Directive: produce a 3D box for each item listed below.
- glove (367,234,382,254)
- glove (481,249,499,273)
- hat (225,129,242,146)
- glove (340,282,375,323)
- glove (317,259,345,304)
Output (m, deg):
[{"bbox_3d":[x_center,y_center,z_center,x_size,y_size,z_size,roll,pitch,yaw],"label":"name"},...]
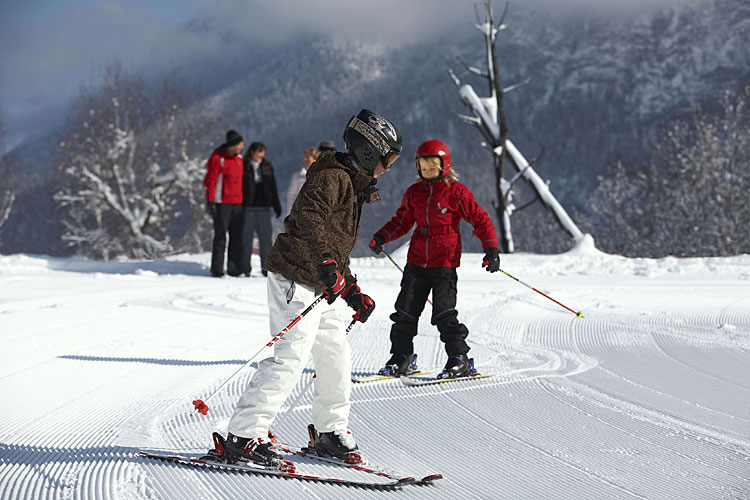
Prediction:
[{"bbox_3d":[0.025,-0.120,17.228,0.369,0.265,0.163,-51,7,-11],"label":"glove"},{"bbox_3d":[2.267,0.194,16.851,0.303,0.487,0.201,0,3,7],"label":"glove"},{"bbox_3d":[-3.562,-2.812,21.461,0.347,0.287,0.356,-32,6,30],"label":"hat"},{"bbox_3d":[-0.290,0.918,15.631,0.524,0.669,0.285,-42,-3,7],"label":"glove"},{"bbox_3d":[-0.795,0.511,15.321,0.311,0.732,0.414,-20,-12,-46],"label":"glove"}]
